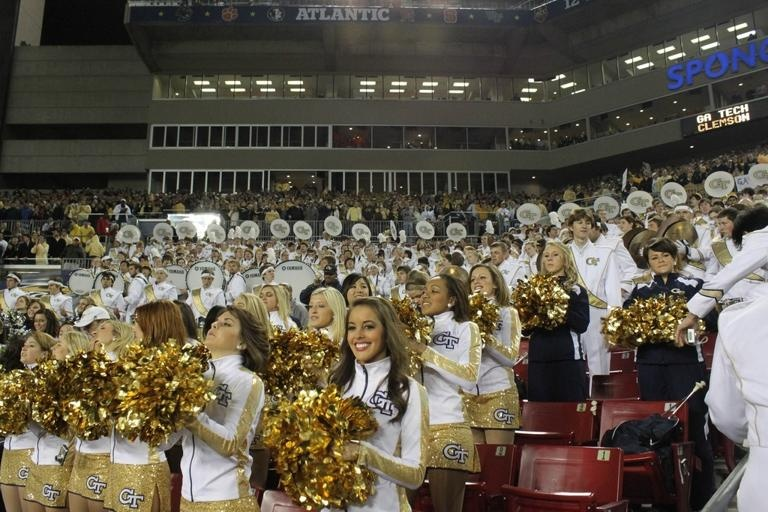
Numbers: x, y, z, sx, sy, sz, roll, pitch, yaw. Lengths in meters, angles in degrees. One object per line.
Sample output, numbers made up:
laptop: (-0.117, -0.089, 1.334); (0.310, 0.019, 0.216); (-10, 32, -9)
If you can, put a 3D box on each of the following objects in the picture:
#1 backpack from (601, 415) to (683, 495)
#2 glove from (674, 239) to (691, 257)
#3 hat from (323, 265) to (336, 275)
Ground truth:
backpack: (2.627, 2.038, 7.444); (0.708, 0.331, 0.729); (-18, -46, 31)
glove: (4.176, -0.110, 10.194); (0.282, 0.217, 0.083); (38, -34, -28)
hat: (-0.972, 0.247, 13.098); (0.222, 0.215, 0.347); (-1, -7, -7)
